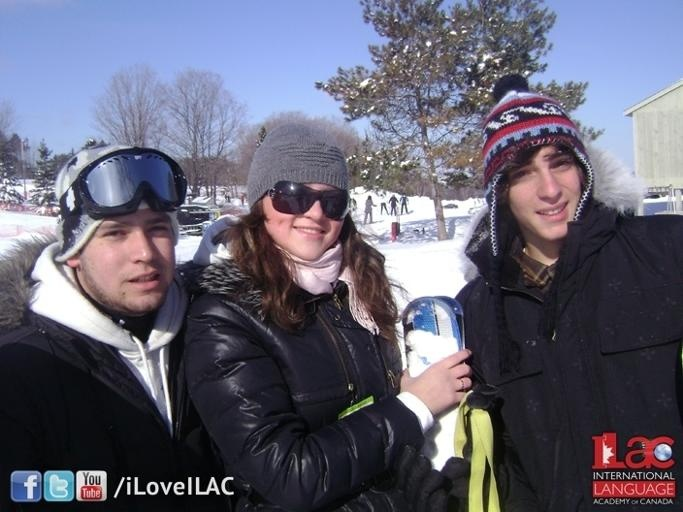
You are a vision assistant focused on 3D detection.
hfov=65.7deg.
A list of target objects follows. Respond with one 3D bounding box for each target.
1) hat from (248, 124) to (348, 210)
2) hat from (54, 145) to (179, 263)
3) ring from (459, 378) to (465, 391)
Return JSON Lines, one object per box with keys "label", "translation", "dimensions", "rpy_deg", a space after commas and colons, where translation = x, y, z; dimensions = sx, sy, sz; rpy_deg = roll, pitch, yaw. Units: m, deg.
{"label": "hat", "translation": [-0.242, -0.464, 2.849], "dimensions": [0.445, 0.370, 0.454], "rpy_deg": [1, 1, -19]}
{"label": "hat", "translation": [-1.239, -0.292, 2.913], "dimensions": [0.519, 0.551, 0.646], "rpy_deg": [-7, 7, -37]}
{"label": "ring", "translation": [0.616, 0.649, 2.681], "dimensions": [0.018, 0.044, 0.037], "rpy_deg": [6, -10, 0]}
